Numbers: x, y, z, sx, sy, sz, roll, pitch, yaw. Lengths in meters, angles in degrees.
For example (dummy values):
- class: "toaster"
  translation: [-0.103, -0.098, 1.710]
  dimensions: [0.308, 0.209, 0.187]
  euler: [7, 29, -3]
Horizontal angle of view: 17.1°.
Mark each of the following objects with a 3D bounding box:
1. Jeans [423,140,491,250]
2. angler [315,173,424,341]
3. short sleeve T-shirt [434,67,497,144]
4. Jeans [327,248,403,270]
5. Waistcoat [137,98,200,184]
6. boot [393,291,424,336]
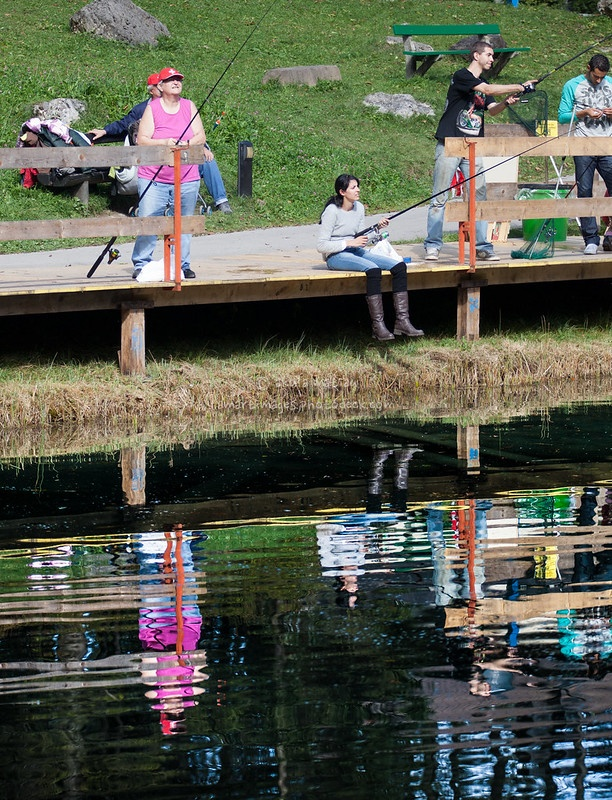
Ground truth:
- class: "Jeans"
  translation: [1.125, -1.558, 15.296]
  dimensions: [0.470, 1.172, 0.274]
  euler: [1, 41, 3]
- class: "angler"
  translation: [0.444, -1.019, 14.683]
  dimensions: [0.715, 1.153, 0.507]
  euler: [2, 14, 5]
- class: "short sleeve T-shirt"
  translation: [1.222, -2.119, 15.097]
  dimensions: [0.439, 0.484, 0.451]
  euler: [16, -11, -21]
- class: "Jeans"
  translation: [0.395, -0.966, 14.675]
  dimensions: [0.358, 0.121, 0.237]
  euler: [3, 14, 9]
- class: "Waistcoat"
  translation: [-0.927, -1.770, 14.164]
  dimensions: [0.400, 0.612, 0.311]
  euler: [-1, 2, -10]
- class: "boot"
  translation: [0.720, -0.586, 14.594]
  dimensions: [0.171, 0.310, 0.343]
  euler: [-2, 15, -9]
